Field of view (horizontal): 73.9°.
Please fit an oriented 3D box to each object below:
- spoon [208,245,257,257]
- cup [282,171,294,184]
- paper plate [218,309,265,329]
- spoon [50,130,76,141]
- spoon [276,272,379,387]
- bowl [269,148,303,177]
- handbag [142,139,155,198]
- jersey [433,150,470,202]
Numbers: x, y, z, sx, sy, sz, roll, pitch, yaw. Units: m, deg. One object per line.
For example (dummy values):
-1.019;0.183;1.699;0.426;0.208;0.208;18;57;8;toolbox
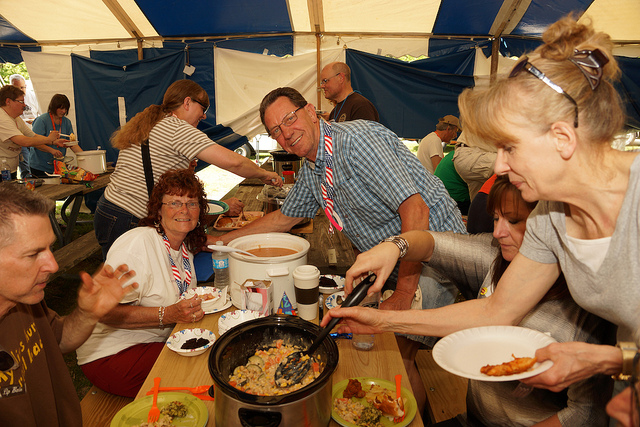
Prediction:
-0.586;0.237;2.704;0.407;0.069;0.105;-2;13;30;spoon
-0.389;-0.431;5.182;0.134;0.133;0.138;0;6;0;cup
-0.473;0.616;2.562;0.266;0.046;0.113;-11;30;-24;paper plate
-4.031;-1.207;6.743;0.345;0.088;0.146;22;-5;-41;spoon
0.042;0.631;2.302;0.128;0.096;0.658;34;65;21;spoon
-0.408;-0.632;5.191;0.357;0.409;0.484;0;27;-4;bowl
-1.438;-0.402;3.598;0.055;0.525;0.071;-3;15;-18;handbag
1.898;-0.525;6.059;0.552;0.761;0.348;13;28;20;jersey
